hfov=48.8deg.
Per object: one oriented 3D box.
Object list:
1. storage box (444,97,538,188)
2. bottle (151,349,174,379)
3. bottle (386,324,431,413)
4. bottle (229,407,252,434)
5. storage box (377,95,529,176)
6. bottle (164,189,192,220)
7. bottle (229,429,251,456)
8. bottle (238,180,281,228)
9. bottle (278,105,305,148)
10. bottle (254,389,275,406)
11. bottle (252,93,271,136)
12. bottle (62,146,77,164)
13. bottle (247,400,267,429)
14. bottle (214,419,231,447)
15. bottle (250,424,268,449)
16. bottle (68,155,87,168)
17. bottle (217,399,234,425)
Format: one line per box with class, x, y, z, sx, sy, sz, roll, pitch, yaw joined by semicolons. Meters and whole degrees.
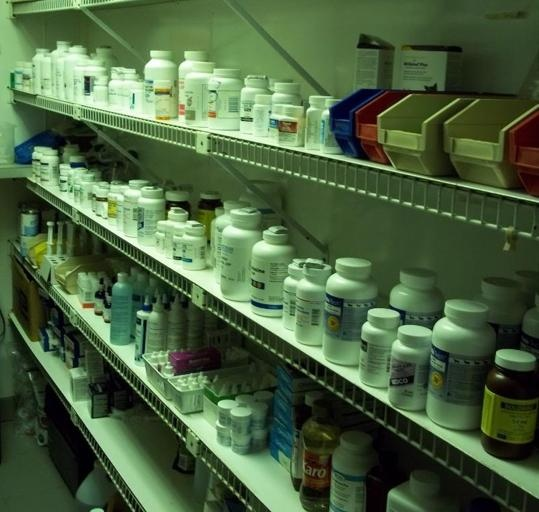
storage box;0.338;-0.180;0.939;0.168;0.132;0.115;-12;15;-40
bottle;-0.351;0.352;1.946;0.052;0.083;0.079;-4;13;-25
bottle;0.250;0.199;1.058;0.067;0.145;0.048;5;11;10
bottle;-0.077;0.449;1.629;0.049;0.054;0.053;0;5;-3
storage box;0.307;-0.238;1.028;0.231;0.138;0.131;-18;22;-37
bottle;-0.318;-0.194;2.118;0.095;0.116;0.098;-4;16;-26
bottle;-0.077;0.512;1.628;0.054;0.057;0.058;0;0;1
bottle;-0.027;-0.160;1.817;0.101;0.156;0.154;-3;11;-14
bottle;0.047;-0.279;1.279;0.060;0.084;0.056;4;11;-1
bottle;-0.014;0.414;1.753;0.033;0.023;0.036;3;13;-1
bottle;-0.011;-0.321;1.366;0.032;0.098;0.094;0;13;-19
bottle;-0.987;-0.491;2.928;0.075;0.096;0.079;3;5;0
bottle;-0.029;0.442;1.675;0.052;0.055;0.056;6;10;24
bottle;-0.127;0.495;1.672;0.056;0.068;0.060;-3;-9;25
bottle;-0.028;0.509;1.667;0.052;0.056;0.054;1;2;-20
bottle;-0.896;-0.440;2.784;0.062;0.067;0.065;-1;9;-20
bottle;-0.122;0.438;1.681;0.049;0.058;0.053;0;11;-2
